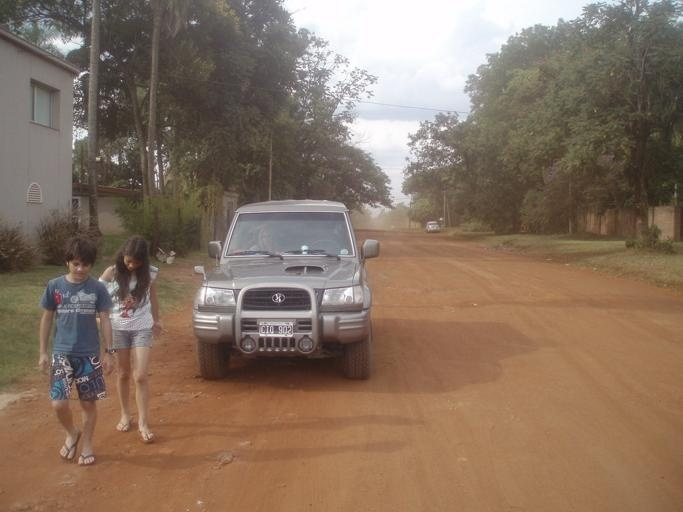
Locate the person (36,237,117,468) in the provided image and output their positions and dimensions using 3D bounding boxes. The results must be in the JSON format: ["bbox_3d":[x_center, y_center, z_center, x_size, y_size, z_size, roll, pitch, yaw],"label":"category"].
[{"bbox_3d":[-2.527,0.863,5.197,0.604,2.107,0.728,-2,2,-25],"label":"person"}]

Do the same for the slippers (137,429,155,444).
[{"bbox_3d":[-1.946,1.798,5.440,0.138,0.117,0.218,-2,1,-23],"label":"slippers"}]

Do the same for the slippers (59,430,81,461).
[{"bbox_3d":[-2.531,1.786,5.087,0.138,0.279,0.071,22,4,34],"label":"slippers"}]

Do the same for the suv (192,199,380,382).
[{"bbox_3d":[-0.717,0.446,7.296,2.241,2.405,1.925,-1,1,6],"label":"suv"}]

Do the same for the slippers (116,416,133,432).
[{"bbox_3d":[-2.289,1.770,5.708,0.085,0.111,0.245,1,-7,-8],"label":"slippers"}]
